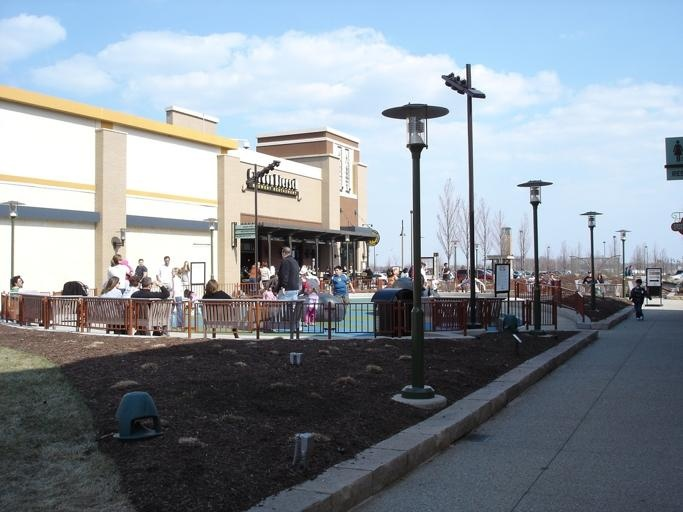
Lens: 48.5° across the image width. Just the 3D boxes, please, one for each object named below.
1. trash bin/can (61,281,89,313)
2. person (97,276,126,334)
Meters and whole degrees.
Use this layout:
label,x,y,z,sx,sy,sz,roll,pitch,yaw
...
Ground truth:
label,x,y,z,sx,sy,sz,roll,pitch,yaw
trash bin/can,-7.675,1.176,21.795,0.649,1.077,0.547,0,-2,-2
person,-6.069,1.269,20.126,0.589,1.166,1.572,1,0,-18
